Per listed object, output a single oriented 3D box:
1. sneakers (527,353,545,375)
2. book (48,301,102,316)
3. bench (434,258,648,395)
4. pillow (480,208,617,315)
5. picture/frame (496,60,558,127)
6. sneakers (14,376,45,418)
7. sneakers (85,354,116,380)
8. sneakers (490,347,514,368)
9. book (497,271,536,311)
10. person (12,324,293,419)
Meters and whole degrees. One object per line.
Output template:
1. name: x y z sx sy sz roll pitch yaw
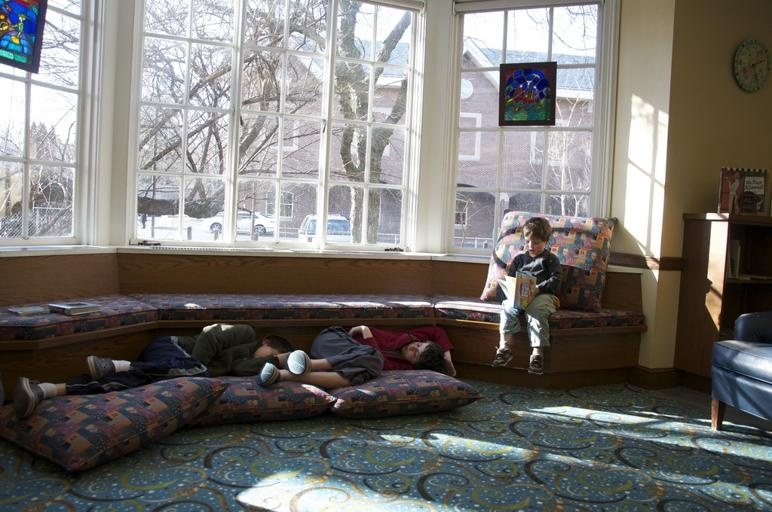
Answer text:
1. sneakers: 1.147 0.856 4.175 0.117 0.133 0.215 0 -8 6
2. book: -2.257 0.364 3.747 0.340 0.060 0.238 8 11 33
3. bench: 1.274 0.548 4.801 1.947 0.883 0.953 2 7 -5
4. pillow: 1.640 0.030 4.587 1.094 0.849 0.273 7 -13 25
5. picture/frame: 1.343 -1.535 4.969 0.771 0.677 0.061 1 1 11
6. sneakers: -2.071 0.820 3.039 0.140 0.229 0.137 10 12 32
7. sneakers: -1.834 0.702 3.318 0.111 0.082 0.240 -3 -8 -19
8. sneakers: 0.906 0.808 4.220 0.111 0.119 0.298 -1 2 37
9. book: 1.057 0.260 4.242 0.255 0.295 0.097 12 19 4
10. person: -1.538 0.710 3.648 1.670 0.475 0.582 8 8 -37
